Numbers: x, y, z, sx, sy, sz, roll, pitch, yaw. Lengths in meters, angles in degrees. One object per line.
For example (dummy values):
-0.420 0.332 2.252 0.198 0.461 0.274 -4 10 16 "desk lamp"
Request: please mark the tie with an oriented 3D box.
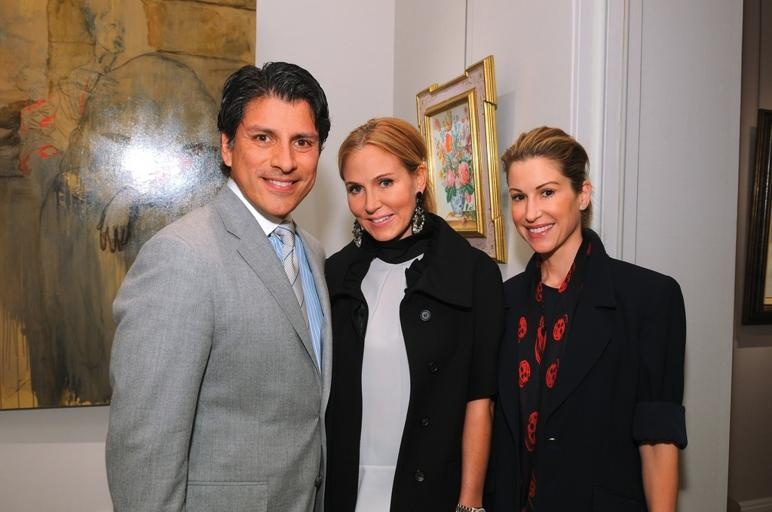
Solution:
-0.435 0.057 3.181 0.099 0.614 0.088 -9 -16 -11 "tie"
